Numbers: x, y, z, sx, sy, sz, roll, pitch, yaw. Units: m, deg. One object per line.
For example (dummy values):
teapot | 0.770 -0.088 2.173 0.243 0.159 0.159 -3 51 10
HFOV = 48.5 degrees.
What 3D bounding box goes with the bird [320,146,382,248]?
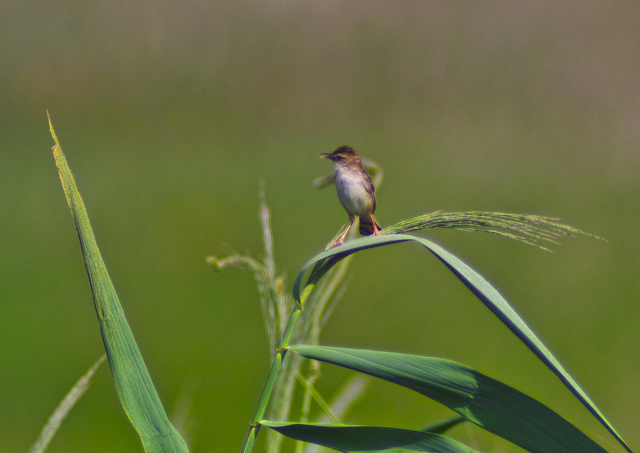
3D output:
bird | 0.131 -0.121 2.550 0.150 0.343 0.352 -3 -84 24
